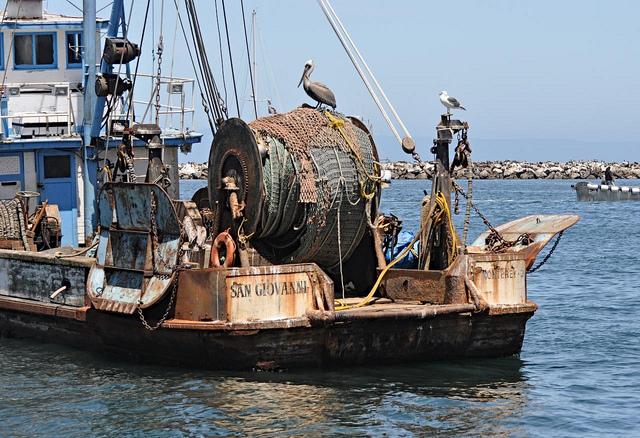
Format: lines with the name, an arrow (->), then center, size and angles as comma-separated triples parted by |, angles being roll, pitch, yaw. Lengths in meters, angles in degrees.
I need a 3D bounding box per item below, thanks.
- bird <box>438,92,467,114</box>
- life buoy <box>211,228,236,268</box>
bird -> 2.709, -2.457, 25.161 | 0.455, 0.322, 0.281 | 9, 15, 33
life buoy -> -2.079, 0.633, 24.605 | 0.198, 0.729, 0.737 | 7, 26, 22
